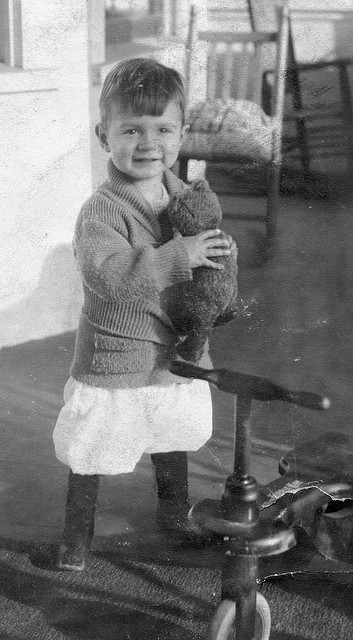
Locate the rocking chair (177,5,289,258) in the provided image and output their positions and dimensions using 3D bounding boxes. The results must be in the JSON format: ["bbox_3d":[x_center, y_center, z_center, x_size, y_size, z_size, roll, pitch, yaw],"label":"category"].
[{"bbox_3d":[0.055,-0.174,0.610,0.116,0.215,0.061,11,27,16],"label":"rocking chair"}]

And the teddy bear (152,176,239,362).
[{"bbox_3d":[0.008,-0.050,0.654,0.058,0.166,0.072,24,35,33],"label":"teddy bear"}]
